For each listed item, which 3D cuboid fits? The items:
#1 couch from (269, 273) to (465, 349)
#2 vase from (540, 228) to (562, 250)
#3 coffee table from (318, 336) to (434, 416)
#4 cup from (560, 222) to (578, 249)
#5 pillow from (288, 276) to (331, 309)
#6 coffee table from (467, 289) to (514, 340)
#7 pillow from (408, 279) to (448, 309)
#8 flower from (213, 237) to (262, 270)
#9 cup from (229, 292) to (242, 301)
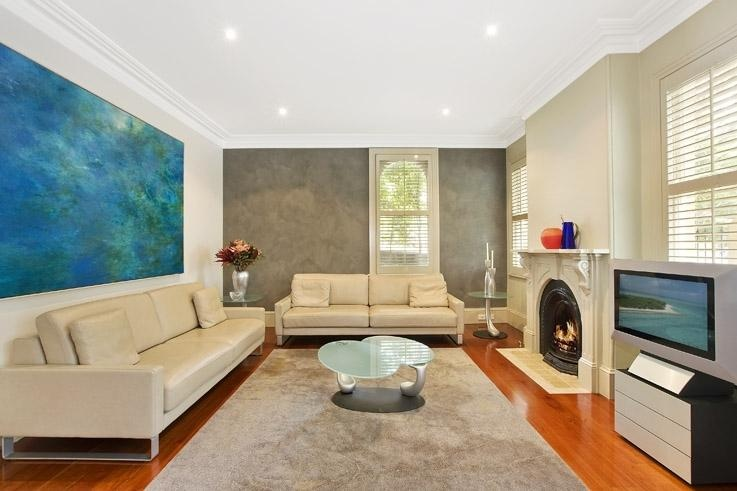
[{"bbox_3d":[0.013,0.936,6.327,2.515,0.841,0.925,0,14,0],"label":"couch"},{"bbox_3d":[2.054,-0.080,5.077,0.239,0.224,0.223,2,-2,-5],"label":"vase"},{"bbox_3d":[0.180,1.386,4.668,1.352,0.501,1.077,12,-7,-23],"label":"coffee table"},{"bbox_3d":[2.215,-0.114,4.865,0.163,0.287,0.198,6,16,24],"label":"cup"},{"bbox_3d":[-0.841,0.678,6.407,0.467,0.433,0.141,3,-16,-2],"label":"pillow"},{"bbox_3d":[1.764,1.021,6.466,0.600,0.571,0.580,-1,2,-9],"label":"coffee table"},{"bbox_3d":[0.877,0.697,6.436,0.426,0.401,0.136,-2,-22,0],"label":"pillow"},{"bbox_3d":[-1.833,0.160,6.310,0.570,0.484,0.566,-2,4,25],"label":"flower"},{"bbox_3d":[-1.805,0.696,6.051,0.131,0.067,0.133,3,0,0],"label":"cup"}]
